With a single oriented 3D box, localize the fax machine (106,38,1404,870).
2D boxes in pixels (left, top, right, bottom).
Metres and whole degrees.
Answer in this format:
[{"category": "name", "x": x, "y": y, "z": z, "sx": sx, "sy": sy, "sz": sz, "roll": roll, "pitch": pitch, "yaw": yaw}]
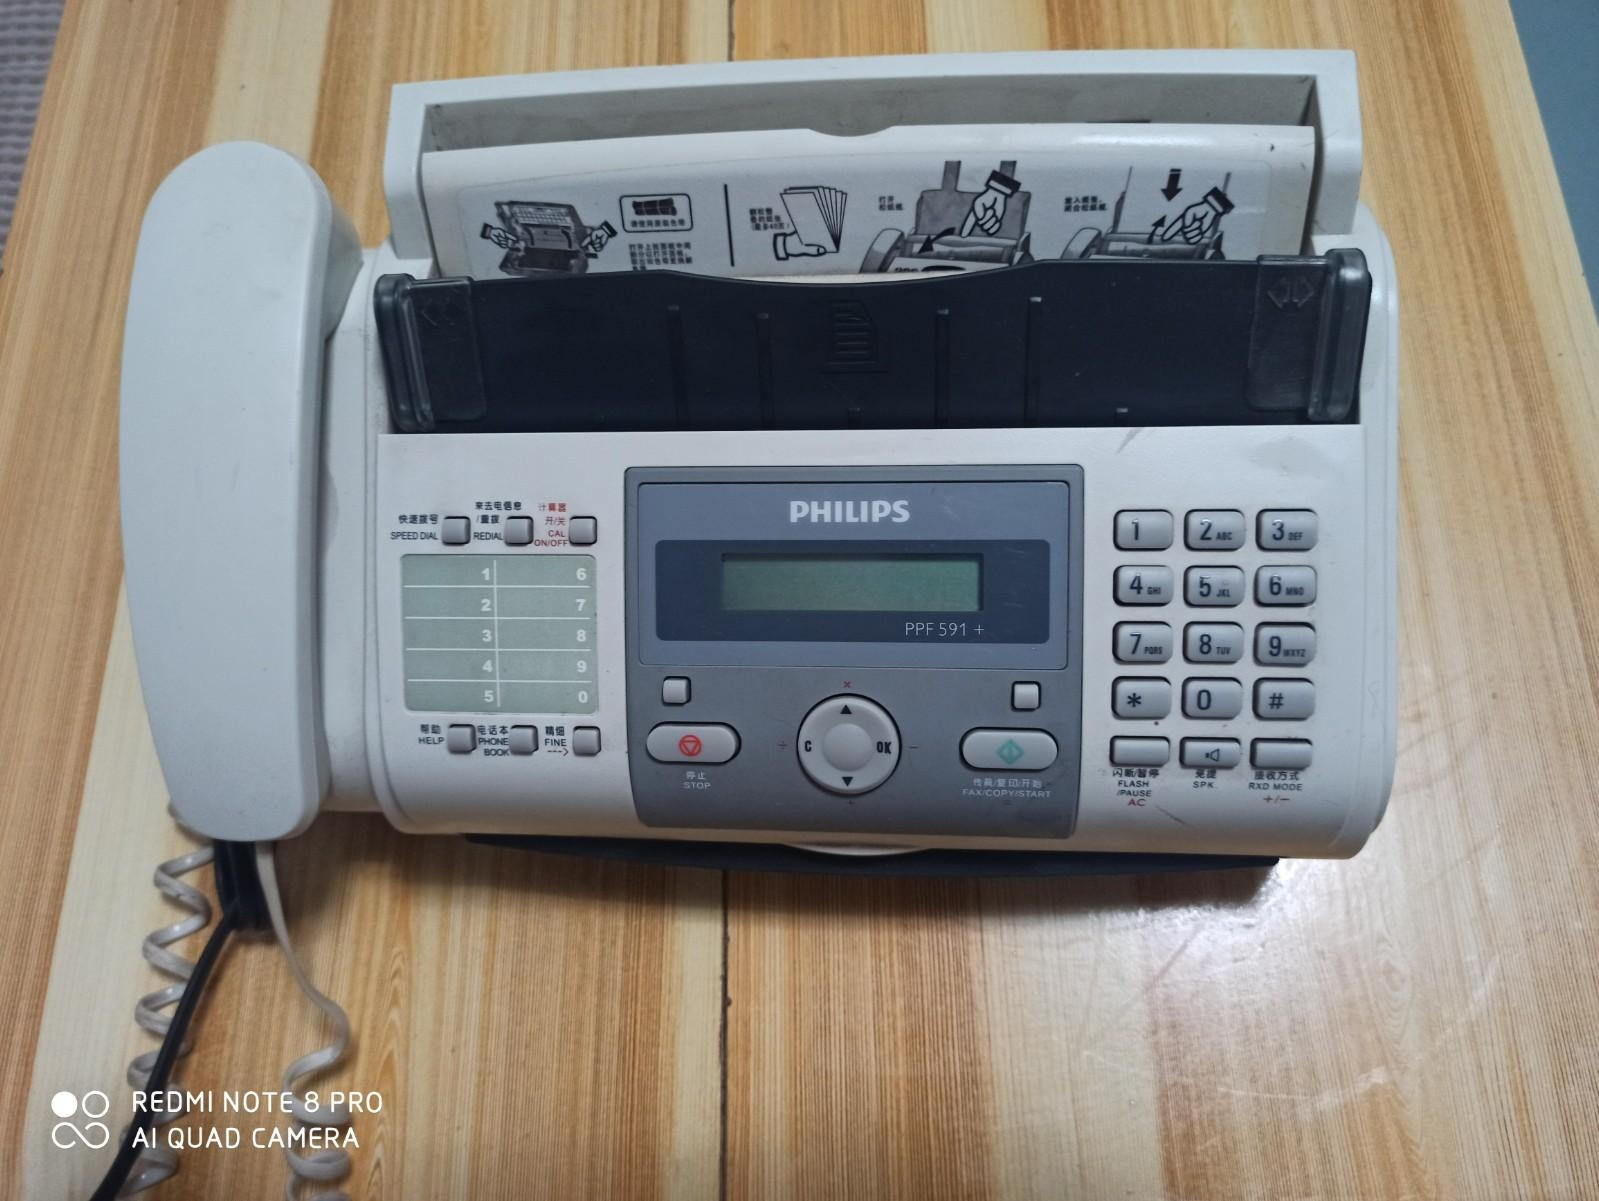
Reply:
[{"category": "fax machine", "x": -0.003, "y": -0.054, "z": 0.888, "sx": 0.723, "sy": 0.305, "sz": 0.456, "roll": 0, "pitch": 73, "yaw": 4}]
